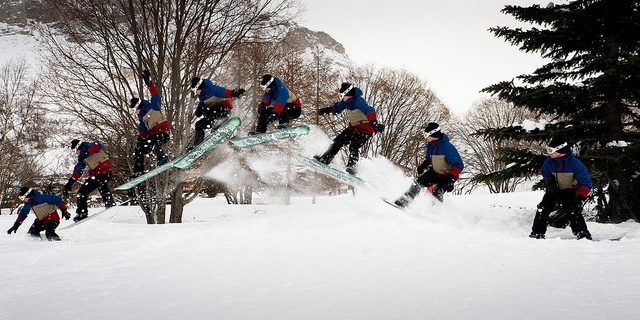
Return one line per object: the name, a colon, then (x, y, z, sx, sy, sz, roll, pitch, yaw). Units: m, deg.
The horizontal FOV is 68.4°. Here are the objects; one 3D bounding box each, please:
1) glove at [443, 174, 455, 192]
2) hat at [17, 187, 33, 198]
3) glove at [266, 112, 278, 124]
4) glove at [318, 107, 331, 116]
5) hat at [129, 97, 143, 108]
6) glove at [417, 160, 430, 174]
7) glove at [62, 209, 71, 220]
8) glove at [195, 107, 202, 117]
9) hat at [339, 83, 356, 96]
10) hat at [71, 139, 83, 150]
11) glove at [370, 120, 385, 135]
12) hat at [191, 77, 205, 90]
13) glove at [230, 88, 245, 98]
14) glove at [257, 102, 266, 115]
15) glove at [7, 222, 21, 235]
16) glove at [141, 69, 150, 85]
glove: (5.374, 0.959, 19.663, 0.500, 0.657, 0.470, 0, -8, -1)
hat: (-13.264, 1.432, 21.094, 0.430, 0.555, 0.216, 46, 4, -46)
glove: (-2.132, -1.857, 20.874, 0.483, 0.487, 1.113, 1, -7, -7)
glove: (0.298, -2.226, 21.076, 0.695, 0.157, 0.307, 2, -39, -19)
hat: (-7.967, -2.472, 20.396, 0.588, 0.530, 0.307, -1, -9, 8)
glove: (4.392, 0.300, 20.201, 0.267, 0.158, 0.882, 39, -32, 7)
glove: (-11.506, 2.492, 21.422, 0.547, 0.470, 0.160, 2, 38, 34)
glove: (-5.406, -2.168, 21.086, 0.376, 0.402, 0.120, 14, 4, 0)
hat: (1.102, -3.061, 20.419, 0.627, 0.573, 0.518, -8, 16, -42)
hat: (-10.677, -0.685, 20.756, 0.427, 0.424, 0.342, 4, -9, -23)
glove: (2.430, -1.458, 20.322, 0.601, 0.513, 0.415, 0, -8, 2)
hat: (-5.542, -3.403, 20.906, 0.491, 0.416, 0.608, 12, 11, 41)
glove: (-3.668, -3.036, 20.649, 0.502, 0.461, 1.121, 2, -8, -15)
glove: (-2.543, -2.278, 20.788, 0.353, 0.459, 0.407, 1, -8, -9)
glove: (-14.428, 3.229, 22.273, 0.383, 1.019, 0.232, 17, 28, -38)
glove: (-7.424, -3.562, 20.208, 0.351, 0.771, 0.622, 4, -9, -21)
